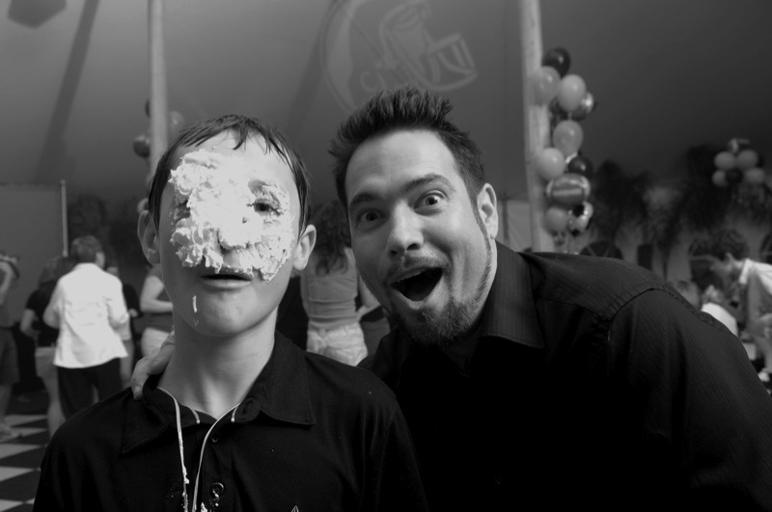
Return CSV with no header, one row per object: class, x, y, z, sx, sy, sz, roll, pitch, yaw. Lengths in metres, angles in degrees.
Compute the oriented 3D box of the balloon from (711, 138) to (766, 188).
balloon,3.341,-0.848,6.784,0.455,0.490,0.180,14,-2,-4
